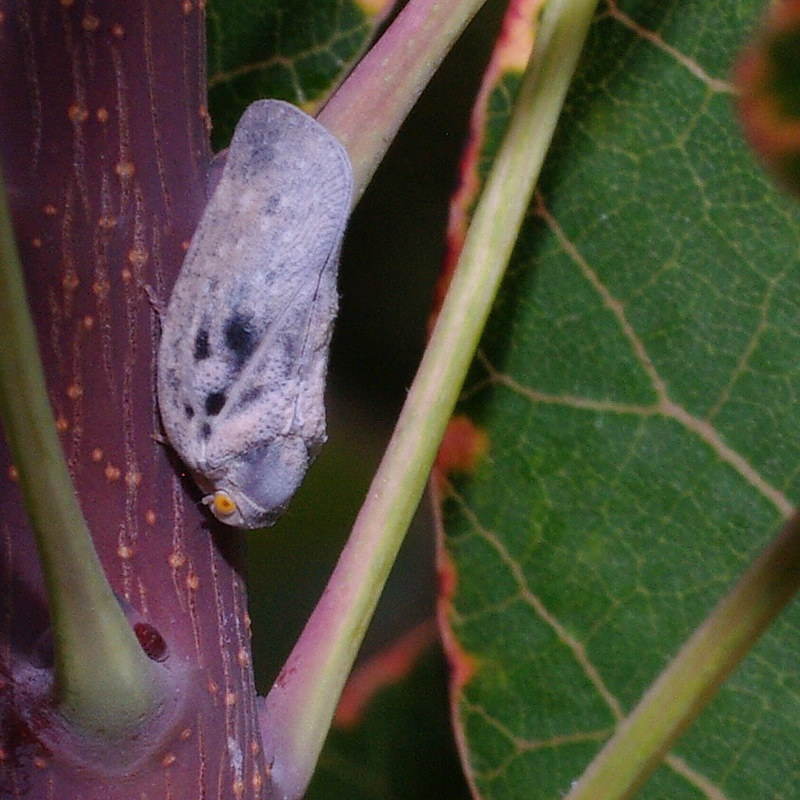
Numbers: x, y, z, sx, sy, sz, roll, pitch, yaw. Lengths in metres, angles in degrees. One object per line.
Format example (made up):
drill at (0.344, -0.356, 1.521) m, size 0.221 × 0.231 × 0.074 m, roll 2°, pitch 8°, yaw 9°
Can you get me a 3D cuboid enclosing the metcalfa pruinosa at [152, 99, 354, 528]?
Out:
metcalfa pruinosa at (-0.152, -0.075, 1.058) m, size 0.080 × 0.220 × 0.400 m, roll 2°, pitch 91°, yaw 25°
